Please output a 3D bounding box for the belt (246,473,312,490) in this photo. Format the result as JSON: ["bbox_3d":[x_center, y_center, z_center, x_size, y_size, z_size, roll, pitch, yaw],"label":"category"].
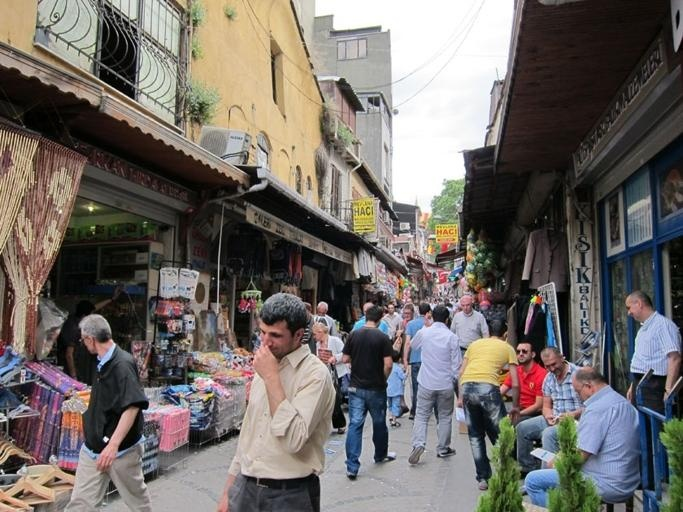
[{"bbox_3d":[-0.382,1.515,3.939,0.361,0.072,0.062,1,-2,-5],"label":"belt"}]

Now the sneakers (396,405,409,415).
[{"bbox_3d":[1.162,2.902,11.059,0.120,0.161,0.365,-3,-24,10],"label":"sneakers"}]

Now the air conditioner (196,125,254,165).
[{"bbox_3d":[-2.023,-1.931,9.948,0.816,0.615,0.498,11,24,-8],"label":"air conditioner"}]

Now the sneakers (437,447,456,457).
[{"bbox_3d":[1.411,2.613,7.956,0.275,0.133,0.105,0,0,-45],"label":"sneakers"}]

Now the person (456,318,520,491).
[{"bbox_3d":[1.793,1.847,7.075,0.666,1.694,0.634,1,-2,-11],"label":"person"}]

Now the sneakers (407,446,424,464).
[{"bbox_3d":[0.953,2.564,7.639,0.177,0.235,0.343,1,-2,3],"label":"sneakers"}]

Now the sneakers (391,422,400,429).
[{"bbox_3d":[0.917,2.872,10.008,0.163,0.075,0.058,-5,-7,15],"label":"sneakers"}]

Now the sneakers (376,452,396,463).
[{"bbox_3d":[0.591,2.673,7.769,0.202,0.096,0.115,-14,6,-16],"label":"sneakers"}]

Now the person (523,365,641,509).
[{"bbox_3d":[2.348,1.609,5.265,0.553,1.150,0.395,0,-2,29],"label":"person"}]

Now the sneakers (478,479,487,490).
[{"bbox_3d":[1.609,2.630,6.767,0.099,0.094,0.112,0,-2,20],"label":"sneakers"}]

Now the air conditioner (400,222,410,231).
[{"bbox_3d":[5.993,-2.833,56.194,0.693,0.580,0.756,0,-6,1],"label":"air conditioner"}]
